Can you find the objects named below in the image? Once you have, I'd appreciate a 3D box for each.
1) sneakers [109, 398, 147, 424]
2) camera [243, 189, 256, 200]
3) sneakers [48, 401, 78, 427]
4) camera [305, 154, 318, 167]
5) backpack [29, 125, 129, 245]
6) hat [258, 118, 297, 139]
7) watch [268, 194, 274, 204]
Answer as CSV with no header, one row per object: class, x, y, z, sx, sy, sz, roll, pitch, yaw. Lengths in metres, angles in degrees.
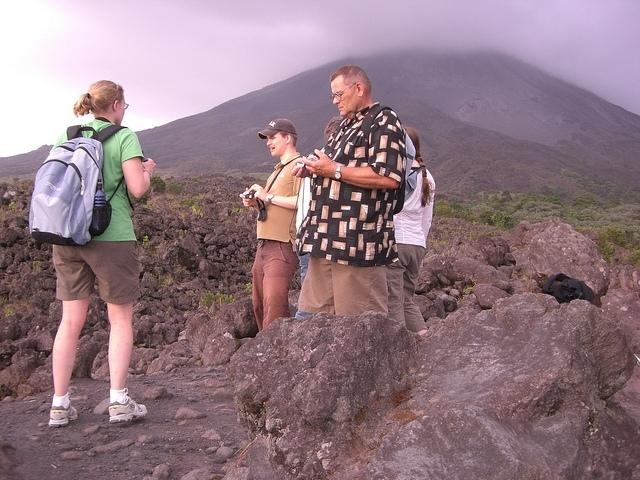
sneakers,-1.534,1.373,3.686,0.134,0.212,0.351,-6,-5,40
camera,-0.757,-0.500,4.857,0.125,0.095,0.065,19,29,-49
sneakers,-2.059,1.387,3.614,0.103,0.142,0.275,1,3,3
camera,-0.057,-0.591,3.269,0.069,0.053,0.106,1,25,-13
backpack,-1.916,-0.452,3.541,0.679,0.987,0.417,-5,7,-37
hat,-0.468,-1.329,5.067,0.384,0.224,0.273,0,5,-16
watch,-0.510,-0.450,4.737,0.053,0.075,0.027,11,3,39
